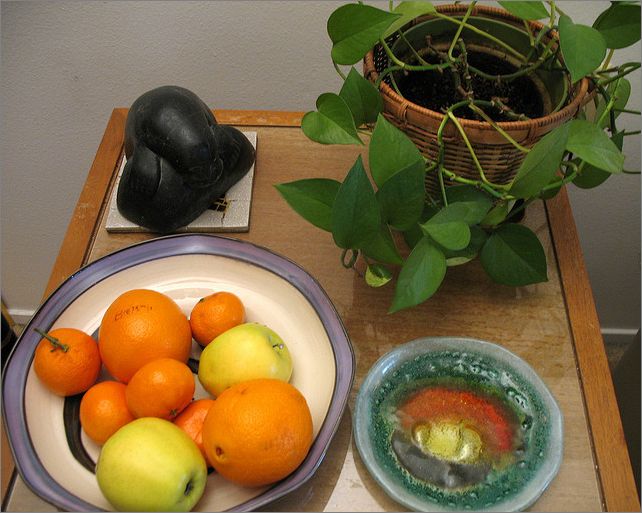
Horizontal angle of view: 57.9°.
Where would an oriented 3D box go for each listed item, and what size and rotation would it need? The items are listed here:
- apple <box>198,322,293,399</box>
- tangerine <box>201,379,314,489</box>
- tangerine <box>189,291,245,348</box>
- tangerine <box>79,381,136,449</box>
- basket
[{"bbox_3d":[-0.085,0.110,0.690,0.100,0.085,0.089,-21,107,2],"label":"apple"},{"bbox_3d":[-0.059,0.181,0.601,0.106,0.086,0.088,-13,84,-28],"label":"tangerine"},{"bbox_3d":[-0.125,0.070,0.690,0.062,0.059,0.066,11,103,24],"label":"tangerine"},{"bbox_3d":[-0.223,0.163,0.621,0.059,0.060,0.062,5,74,38],"label":"tangerine"},{"bbox_3d":[0.172,-0.145,0.750,0.234,0.121,0.242,33,61,16],"label":"basket"}]
